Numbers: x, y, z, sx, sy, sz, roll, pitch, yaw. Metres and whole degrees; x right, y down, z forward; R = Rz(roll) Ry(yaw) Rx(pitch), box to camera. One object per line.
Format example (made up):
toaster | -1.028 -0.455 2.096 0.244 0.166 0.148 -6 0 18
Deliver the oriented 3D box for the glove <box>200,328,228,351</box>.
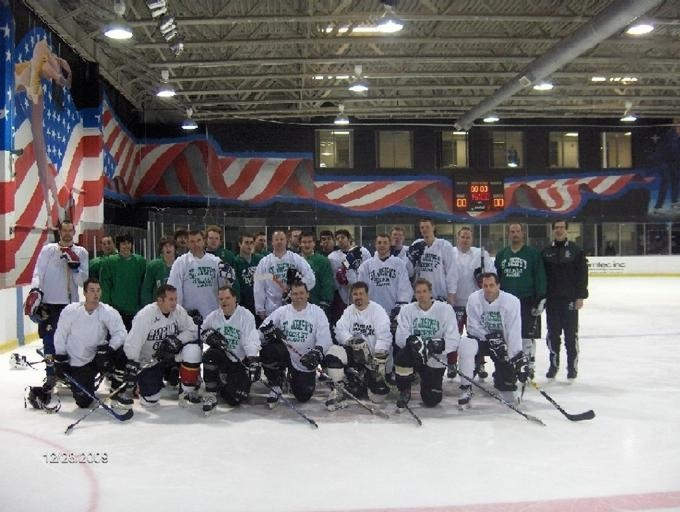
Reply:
glove | -1.524 0.999 9.215 0.398 0.220 0.250 10 15 41

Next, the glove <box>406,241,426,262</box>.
glove | 1.032 -0.090 10.437 0.207 0.285 0.099 39 -3 -24

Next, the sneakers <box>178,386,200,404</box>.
sneakers | -1.834 1.663 9.244 0.267 0.222 0.246 -4 12 -21

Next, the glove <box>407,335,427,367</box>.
glove | 0.905 1.131 9.044 0.109 0.328 0.215 -18 -21 41

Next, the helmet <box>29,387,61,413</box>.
helmet | -3.531 1.703 9.051 0.364 0.178 0.277 27 2 -2

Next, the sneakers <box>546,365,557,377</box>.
sneakers | 2.824 1.529 10.142 0.143 0.208 0.148 3 11 17

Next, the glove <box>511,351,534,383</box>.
glove | 2.204 1.363 9.288 0.238 0.336 0.361 2 -8 -3

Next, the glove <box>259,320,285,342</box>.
glove | -0.866 0.956 9.345 0.385 0.321 0.188 7 13 34

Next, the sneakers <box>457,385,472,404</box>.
sneakers | 1.526 1.682 9.224 0.097 0.223 0.312 -5 -17 17

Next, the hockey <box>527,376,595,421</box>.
hockey | 2.544 1.706 9.044 0.138 0.213 1.145 42 -3 -26

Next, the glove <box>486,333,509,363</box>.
glove | 1.901 1.094 9.197 0.185 0.363 0.128 -13 -23 -1

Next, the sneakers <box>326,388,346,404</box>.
sneakers | -0.065 1.674 9.106 0.232 0.176 0.165 0 11 0

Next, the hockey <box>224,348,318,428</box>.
hockey | -0.837 1.561 9.074 1.128 0.207 0.202 34 -19 31

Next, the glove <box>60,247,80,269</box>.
glove | -3.578 0.029 10.096 0.207 0.294 0.108 -10 4 -16

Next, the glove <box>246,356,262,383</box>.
glove | -1.016 1.329 8.968 0.088 0.278 0.198 -7 -24 5

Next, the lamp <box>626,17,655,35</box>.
lamp | 4.889 -3.714 12.414 0.375 0.181 0.341 6 13 29

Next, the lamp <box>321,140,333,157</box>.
lamp | -0.405 -3.186 22.811 0.368 0.430 0.391 4 -5 -23

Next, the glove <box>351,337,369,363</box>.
glove | 0.233 1.129 9.190 0.201 0.299 0.283 3 -17 -9

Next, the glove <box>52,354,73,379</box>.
glove | -3.292 1.294 9.078 0.187 0.275 0.240 1 40 -10

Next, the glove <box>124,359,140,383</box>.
glove | -2.464 1.348 8.983 0.154 0.250 0.085 8 -5 13

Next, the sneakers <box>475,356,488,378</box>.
sneakers | 1.824 1.446 9.883 0.121 0.256 0.358 -2 -14 6

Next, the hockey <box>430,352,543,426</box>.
hockey | 1.753 1.611 9.167 1.195 0.155 0.144 36 13 29

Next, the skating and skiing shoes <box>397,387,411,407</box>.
skating and skiing shoes | 0.765 1.696 9.132 0.120 0.229 0.216 1 -10 6

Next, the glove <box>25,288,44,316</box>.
glove | -3.934 0.591 9.860 0.197 0.392 0.110 7 -11 19

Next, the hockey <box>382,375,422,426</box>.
hockey | 0.718 1.695 9.235 0.151 0.162 1.408 -4 11 -11

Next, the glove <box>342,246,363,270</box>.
glove | 0.171 0.023 10.446 0.197 0.320 0.105 -2 4 -9

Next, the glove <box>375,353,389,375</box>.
glove | 0.509 1.301 9.328 0.191 0.286 0.280 -2 -1 1
